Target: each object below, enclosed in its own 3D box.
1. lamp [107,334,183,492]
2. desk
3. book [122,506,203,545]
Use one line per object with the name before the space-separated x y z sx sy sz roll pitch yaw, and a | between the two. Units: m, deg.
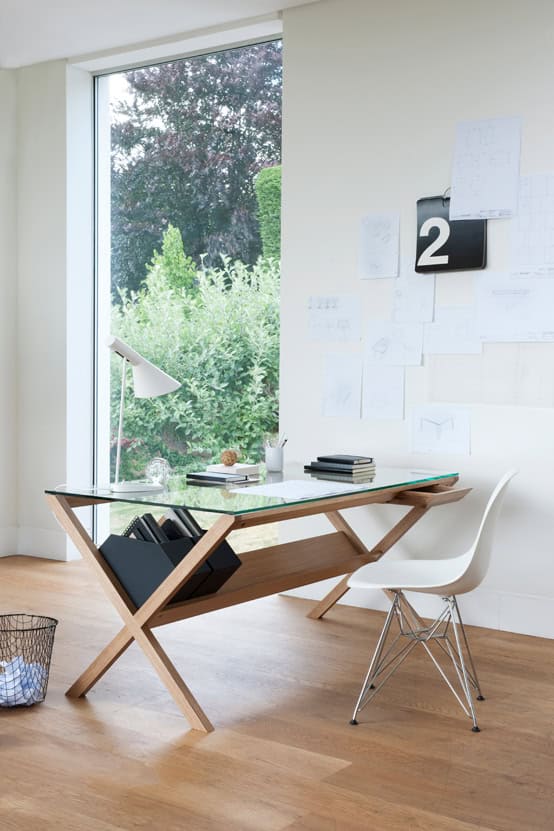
lamp | -0.511 0.032 2.815 0.298 0.601 0.223 11 17 4
desk | -0.067 0.547 2.490 0.711 0.601 1.102 1 0 40
book | -0.341 0.344 2.321 0.171 0.049 0.163 -39 49 -20
